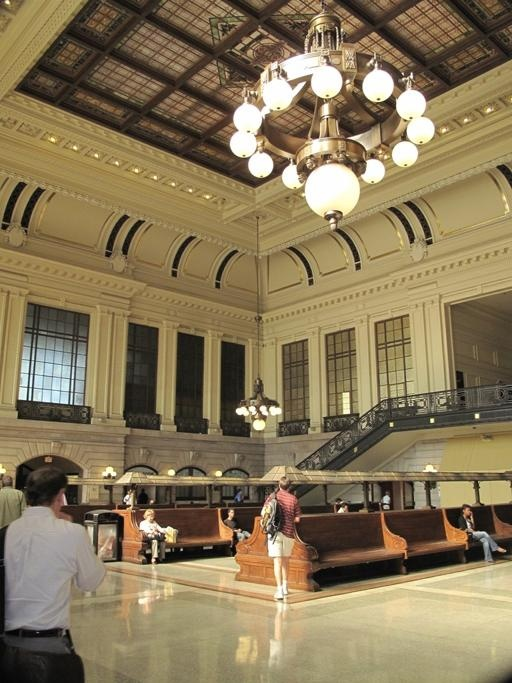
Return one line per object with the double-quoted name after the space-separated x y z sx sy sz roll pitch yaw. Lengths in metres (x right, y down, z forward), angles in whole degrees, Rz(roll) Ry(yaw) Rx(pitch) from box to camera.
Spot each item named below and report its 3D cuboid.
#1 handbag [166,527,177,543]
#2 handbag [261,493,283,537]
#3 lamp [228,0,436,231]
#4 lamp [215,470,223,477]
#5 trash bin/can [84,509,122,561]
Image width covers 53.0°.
-1.648 3.737 9.892 0.168 0.264 0.302 -8 -15 23 "handbag"
0.189 2.089 6.215 0.242 0.395 0.294 16 -10 -21 "handbag"
0.741 -2.393 5.210 1.843 3.005 1.491 -6 -14 16 "lamp"
-1.440 5.107 19.921 0.175 0.207 0.506 -9 -15 28 "lamp"
-2.980 3.814 10.089 0.960 0.846 0.925 13 -27 -34 "trash bin/can"
